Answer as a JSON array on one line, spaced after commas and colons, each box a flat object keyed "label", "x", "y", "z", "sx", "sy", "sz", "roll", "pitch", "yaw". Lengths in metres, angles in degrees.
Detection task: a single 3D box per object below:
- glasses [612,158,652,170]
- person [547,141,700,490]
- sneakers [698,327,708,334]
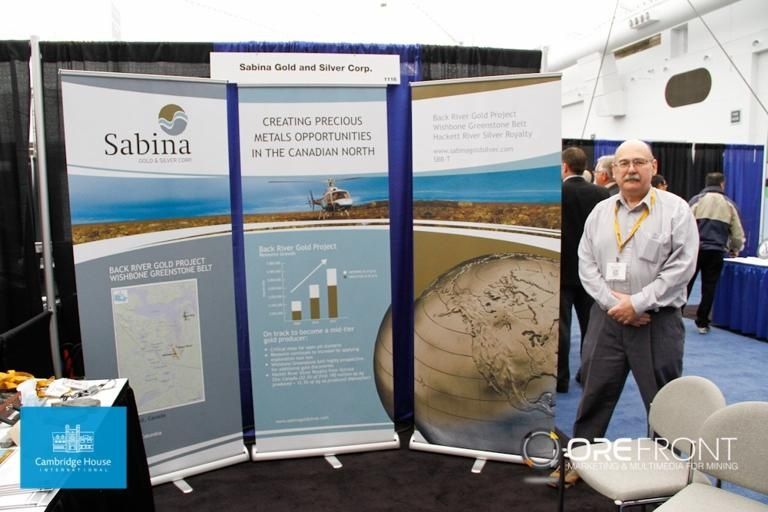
[{"label": "glasses", "x": 1.627, "y": -0.614, "z": 3.677, "sx": 0.210, "sy": 0.057, "sz": 0.061, "roll": 0, "pitch": 10, "yaw": 25}, {"label": "person", "x": 1.645, "y": 0.392, "z": 3.870, "sx": 0.761, "sy": 2.344, "sz": 0.548, "roll": 0, "pitch": 15, "yaw": 18}, {"label": "sneakers", "x": 3.617, "y": 0.849, "z": 6.326, "sx": 0.049, "sy": 0.051, "sz": 0.122, "roll": -2, "pitch": -7, "yaw": 7}]
